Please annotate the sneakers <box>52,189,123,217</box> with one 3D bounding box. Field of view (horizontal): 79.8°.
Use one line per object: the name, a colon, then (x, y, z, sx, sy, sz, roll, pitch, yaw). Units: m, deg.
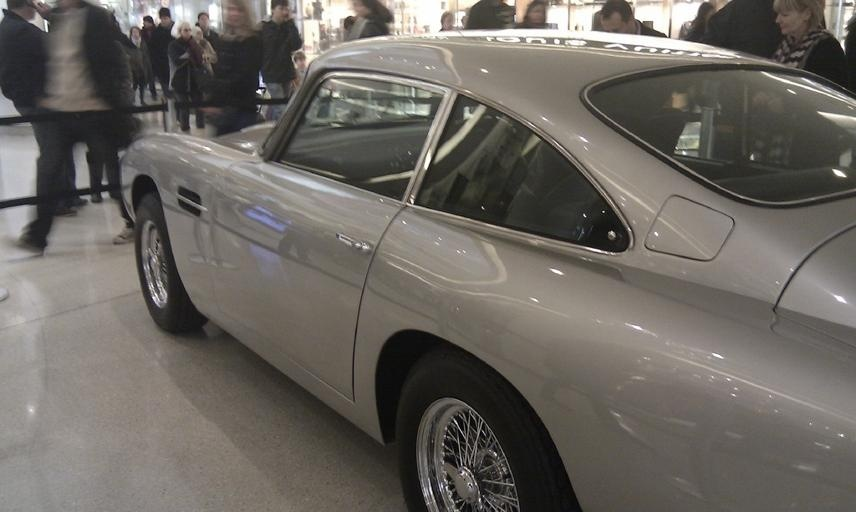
sneakers: (-3.806, -0.592, 5.662, 0.506, 0.211, 0.152, -23, 26, -33)
